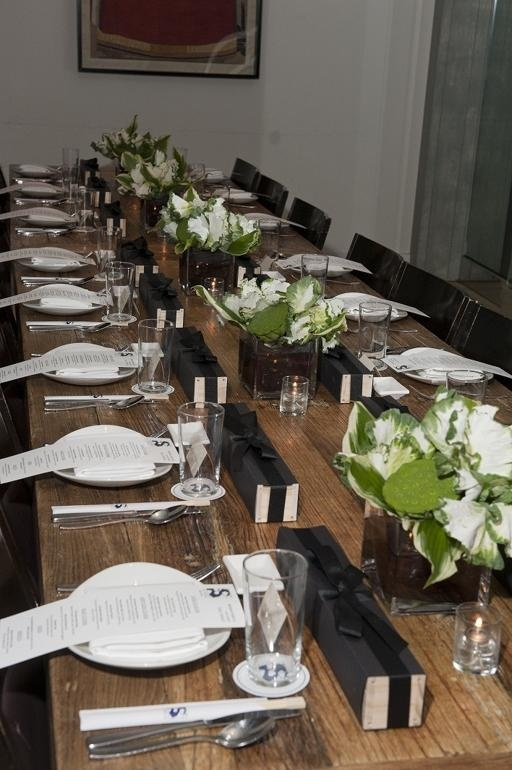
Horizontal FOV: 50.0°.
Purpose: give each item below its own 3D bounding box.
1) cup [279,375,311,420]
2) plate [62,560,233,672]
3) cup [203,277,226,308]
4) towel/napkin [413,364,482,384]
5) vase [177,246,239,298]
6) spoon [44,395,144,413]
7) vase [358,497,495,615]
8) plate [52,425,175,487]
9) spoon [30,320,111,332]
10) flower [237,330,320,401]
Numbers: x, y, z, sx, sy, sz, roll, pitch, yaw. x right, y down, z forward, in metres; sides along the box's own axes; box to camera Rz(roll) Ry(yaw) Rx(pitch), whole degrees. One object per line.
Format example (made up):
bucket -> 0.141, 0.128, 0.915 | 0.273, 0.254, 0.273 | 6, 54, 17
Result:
cup -> 0.102, 0.035, 1.568 | 0.093, 0.117, 0.096 | 1, 14, 0
plate -> -0.122, 0.269, 0.632 | 0.113, 0.021, 0.115 | 5, 25, -4
cup -> -0.168, -0.379, 2.265 | 0.121, 0.149, 0.131 | 0, 10, 0
towel/napkin -> 0.569, -0.024, 1.675 | 0.113, 0.019, 0.119 | -4, 9, -16
vase -> -0.214, -0.499, 2.348 | 0.215, 0.231, 0.223 | 1, 16, -4
spoon -> -0.439, 0.054, 1.460 | 0.186, 0.031, 0.039 | 0, 11, -12
vase -> 0.246, 0.247, 0.853 | 0.161, 0.221, 0.169 | -1, 18, -8
plate -> -0.286, 0.152, 1.078 | 0.155, 0.024, 0.154 | 1, 27, -17
spoon -> -0.687, -0.209, 1.991 | 0.245, 0.040, 0.049 | -1, 1, -12
flower -> 0.064, -0.055, 1.572 | 0.192, 0.207, 0.204 | 1, 8, -4
